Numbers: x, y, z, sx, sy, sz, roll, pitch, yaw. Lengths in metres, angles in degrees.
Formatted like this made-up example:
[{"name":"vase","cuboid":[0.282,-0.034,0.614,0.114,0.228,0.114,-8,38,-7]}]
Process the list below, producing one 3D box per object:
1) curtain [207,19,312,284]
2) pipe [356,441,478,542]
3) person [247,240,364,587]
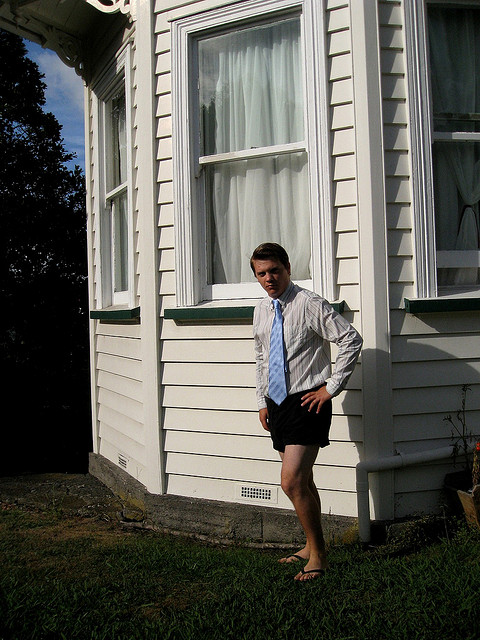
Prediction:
[{"name":"curtain","cuboid":[0.112,-1.090,4.577,0.736,1.697,0.106,-2,-2,25]},{"name":"pipe","cuboid":[1.013,1.034,4.068,0.670,0.509,0.091,-2,-1,-13]},{"name":"person","cuboid":[0.311,0.495,3.749,0.486,1.815,0.760,0,-1,-26]}]
